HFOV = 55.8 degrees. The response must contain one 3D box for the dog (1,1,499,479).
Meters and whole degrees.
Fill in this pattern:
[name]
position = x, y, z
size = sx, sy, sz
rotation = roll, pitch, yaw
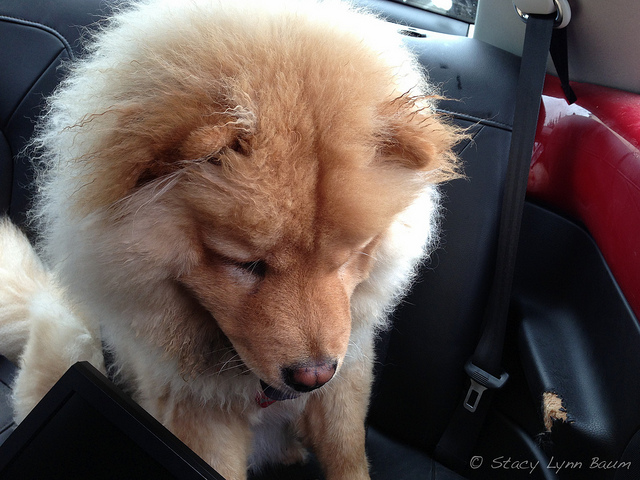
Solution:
[dog]
position = -0.412, 0.027, 2.425
size = 1.308, 1.423, 1.814
rotation = 4, 2, -24
